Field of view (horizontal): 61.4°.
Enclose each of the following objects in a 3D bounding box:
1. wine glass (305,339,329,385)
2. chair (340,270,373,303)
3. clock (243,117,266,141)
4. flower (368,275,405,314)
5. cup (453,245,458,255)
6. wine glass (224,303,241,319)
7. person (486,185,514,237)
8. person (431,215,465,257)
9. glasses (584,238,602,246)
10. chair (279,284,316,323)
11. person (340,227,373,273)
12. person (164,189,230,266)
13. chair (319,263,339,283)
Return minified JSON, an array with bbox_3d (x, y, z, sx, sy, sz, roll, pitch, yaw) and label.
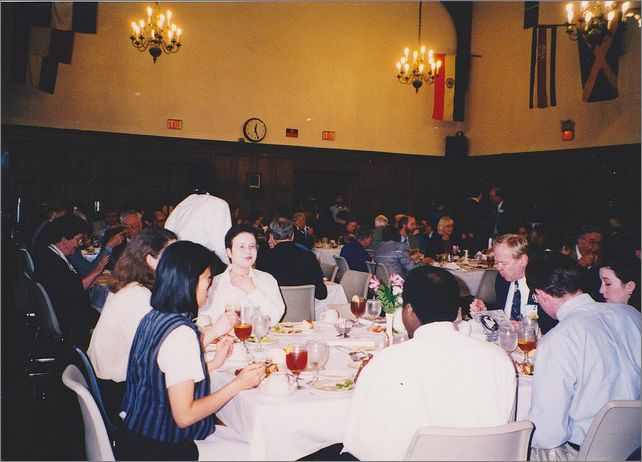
[{"bbox_3d":[-0.014,0.781,3.217,0.187,0.322,0.212,1,-8,5],"label":"wine glass"},{"bbox_3d":[0.379,0.598,5.885,0.326,0.423,0.287,6,-8,-34],"label":"chair"},{"bbox_3d":[-1.451,-2.164,11.527,0.131,0.389,0.374,3,39,48],"label":"clock"},{"bbox_3d":[0.489,0.435,3.846,0.253,0.279,0.261,-4,0,-24],"label":"flower"},{"bbox_3d":[2.184,0.322,8.711,0.103,0.101,0.123,1,5,3],"label":"cup"},{"bbox_3d":[-0.602,0.546,3.692,0.094,0.100,0.099,0,-5,-1],"label":"wine glass"},{"bbox_3d":[3.569,-0.373,10.628,0.416,0.970,1.474,1,2,18],"label":"person"},{"bbox_3d":[2.037,0.105,8.736,0.339,0.639,1.009,1,2,27],"label":"person"},{"bbox_3d":[2.966,0.124,5.860,0.162,0.063,0.063,0,2,-14],"label":"glasses"},{"bbox_3d":[-0.218,0.637,4.877,0.257,0.484,0.320,0,7,-11],"label":"chair"},{"bbox_3d":[0.499,0.278,7.533,0.405,0.869,0.381,-14,23,-30],"label":"person"},{"bbox_3d":[-1.183,-0.045,5.054,0.768,0.694,0.397,10,7,25],"label":"person"},{"bbox_3d":[0.093,0.512,6.645,0.179,0.268,0.211,2,-4,-16],"label":"chair"}]
